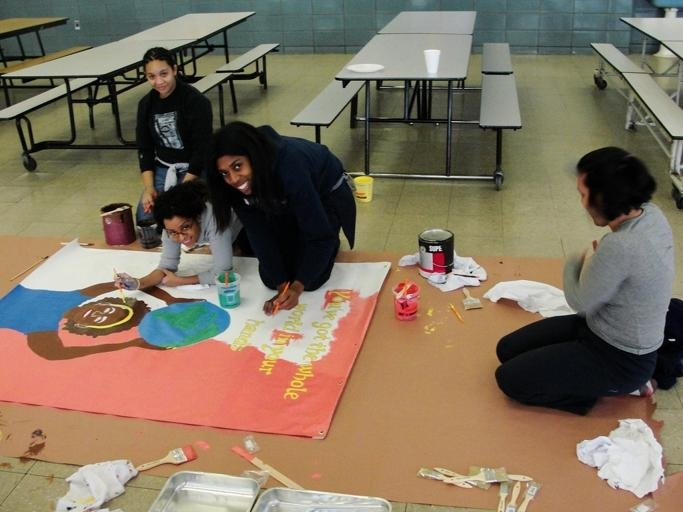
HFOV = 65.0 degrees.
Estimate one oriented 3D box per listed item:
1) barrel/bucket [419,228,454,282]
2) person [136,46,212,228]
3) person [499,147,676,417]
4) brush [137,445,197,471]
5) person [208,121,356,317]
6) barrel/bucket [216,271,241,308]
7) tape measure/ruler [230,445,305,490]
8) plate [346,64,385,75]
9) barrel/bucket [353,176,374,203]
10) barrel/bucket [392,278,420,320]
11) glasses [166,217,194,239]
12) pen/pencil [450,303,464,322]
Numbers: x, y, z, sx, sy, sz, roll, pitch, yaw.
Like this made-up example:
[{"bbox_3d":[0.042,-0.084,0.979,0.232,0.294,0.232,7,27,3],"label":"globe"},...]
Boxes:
[{"bbox_3d":[0.633,-0.032,3.373,0.325,0.306,0.290,3,34,18],"label":"barrel/bucket"},{"bbox_3d":[-1.292,-0.949,4.030,0.789,1.580,0.674,-5,33,-19],"label":"person"},{"bbox_3d":[1.042,0.085,2.413,0.773,1.181,0.780,12,31,16],"label":"person"},{"bbox_3d":[-0.719,0.871,2.298,0.304,0.012,0.081,-13,39,-16],"label":"brush"},{"bbox_3d":[-0.269,-0.232,2.936,0.881,1.094,0.480,-21,34,-29],"label":"person"},{"bbox_3d":[-0.670,0.202,3.123,0.183,0.208,0.155,-2,34,-1],"label":"barrel/bucket"},{"bbox_3d":[-0.313,0.886,2.230,0.228,0.023,0.039,23,35,23],"label":"tape measure/ruler"},{"bbox_3d":[0.193,-1.576,4.494,0.309,0.047,0.341,-3,26,-3],"label":"plate"},{"bbox_3d":[0.167,-0.572,4.464,0.216,0.173,0.207,-3,30,1],"label":"barrel/bucket"},{"bbox_3d":[0.361,0.250,2.989,0.186,0.214,0.155,-4,27,-2],"label":"barrel/bucket"},{"bbox_3d":[-0.934,-0.162,3.052,0.117,0.133,0.087,-7,17,1],"label":"glasses"},{"bbox_3d":[0.649,0.316,3.029,0.023,0.020,0.167,-17,37,-8],"label":"pen/pencil"}]
